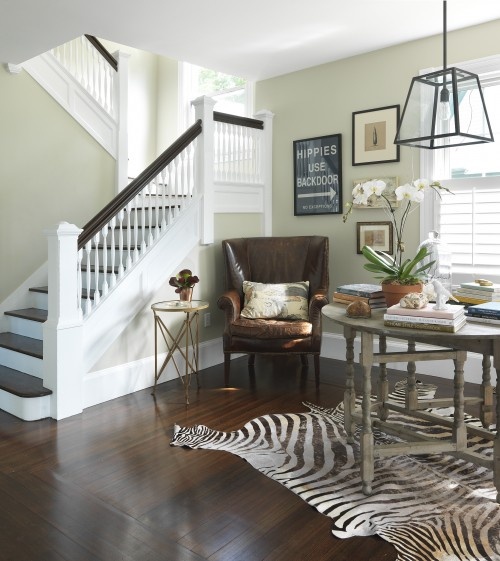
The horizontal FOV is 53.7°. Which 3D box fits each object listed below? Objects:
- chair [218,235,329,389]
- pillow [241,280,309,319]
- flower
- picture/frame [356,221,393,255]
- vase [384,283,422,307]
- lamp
[{"bbox_3d":[0.226,0.147,4.090,0.918,1.367,1.104,0,-2,6],"label":"chair"},{"bbox_3d":[0.200,0.165,3.879,0.506,0.251,0.317,0,5,6],"label":"pillow"},{"bbox_3d":[0.662,-0.226,2.444,0.393,0.533,0.303,-3,-1,-33],"label":"flower"},{"bbox_3d":[0.987,-0.333,3.821,0.346,0.331,0.030,1,0,45],"label":"picture/frame"},{"bbox_3d":[0.683,0.060,2.241,0.116,0.081,0.115,0,1,37],"label":"vase"},{"bbox_3d":[0.780,-0.711,2.065,0.258,0.297,0.390,-5,7,-41],"label":"lamp"}]
